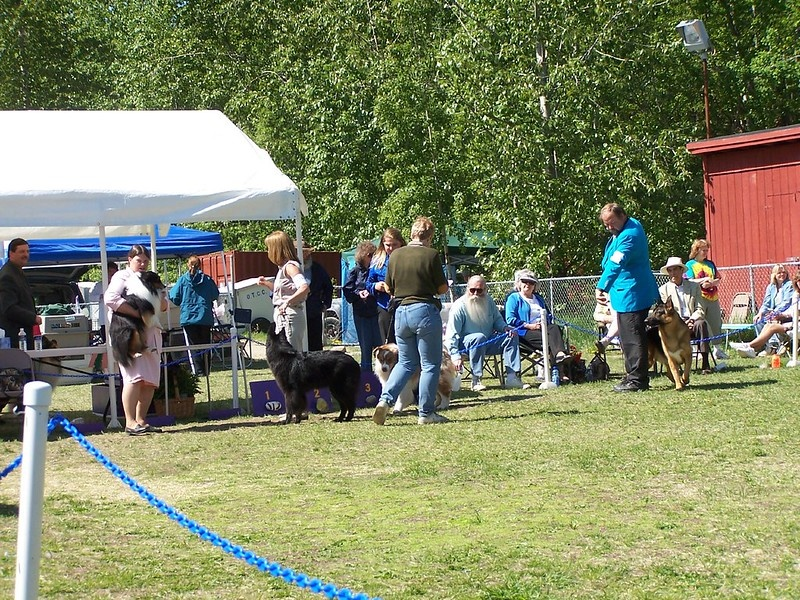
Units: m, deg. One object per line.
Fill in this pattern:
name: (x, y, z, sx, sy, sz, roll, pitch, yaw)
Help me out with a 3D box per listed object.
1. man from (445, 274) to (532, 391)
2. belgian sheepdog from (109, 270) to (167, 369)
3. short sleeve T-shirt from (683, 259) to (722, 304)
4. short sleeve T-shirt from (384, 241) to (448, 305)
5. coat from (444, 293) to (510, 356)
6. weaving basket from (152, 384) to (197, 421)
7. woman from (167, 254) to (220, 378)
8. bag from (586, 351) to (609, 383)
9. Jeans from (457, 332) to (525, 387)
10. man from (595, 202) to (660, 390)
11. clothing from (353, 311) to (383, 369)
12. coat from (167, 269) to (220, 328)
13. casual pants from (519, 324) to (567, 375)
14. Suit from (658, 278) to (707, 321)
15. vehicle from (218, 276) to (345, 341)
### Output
man: (1.200, 0.502, 17.550, 1.054, 1.694, 1.258, -3, -1, -34)
belgian sheepdog: (-3.299, 0.131, 15.046, 0.612, 1.095, 0.853, 11, 8, 35)
short sleeve T-shirt: (4.813, -0.312, 18.976, 0.571, 0.638, 0.327, -6, -5, -9)
short sleeve T-shirt: (0.219, -0.260, 14.965, 0.822, 0.960, 0.600, 3, 5, 29)
coat: (1.114, 0.337, 17.602, 1.059, 0.778, 0.611, -13, 15, -19)
weaving basket: (-3.082, 1.380, 16.427, 0.493, 0.321, 0.417, 1, -2, -27)
woman: (-3.329, 0.184, 19.591, 0.797, 1.878, 0.684, -4, 16, -11)
bag: (2.999, 1.028, 18.158, 0.221, 0.438, 0.438, 5, 5, 43)
Jeans: (1.305, 0.851, 17.743, 0.791, 0.983, 0.901, 0, -9, -25)
man: (3.126, -0.011, 16.607, 0.852, 2.474, 0.995, 0, 6, 38)
clothing: (-0.375, 0.609, 17.924, 0.289, 0.986, 0.216, 14, -7, -22)
coat: (-3.230, -0.007, 19.541, 1.085, 1.153, 0.766, -1, 0, -1)
casual pants: (2.162, 0.664, 17.701, 0.754, 0.851, 0.411, -19, -13, 35)
Suit: (4.277, 0.004, 17.943, 0.838, 0.861, 0.612, 0, -10, 5)
vehicle: (-2.637, 0.345, 27.096, 2.682, 1.805, 1.520, -3, 5, -16)
